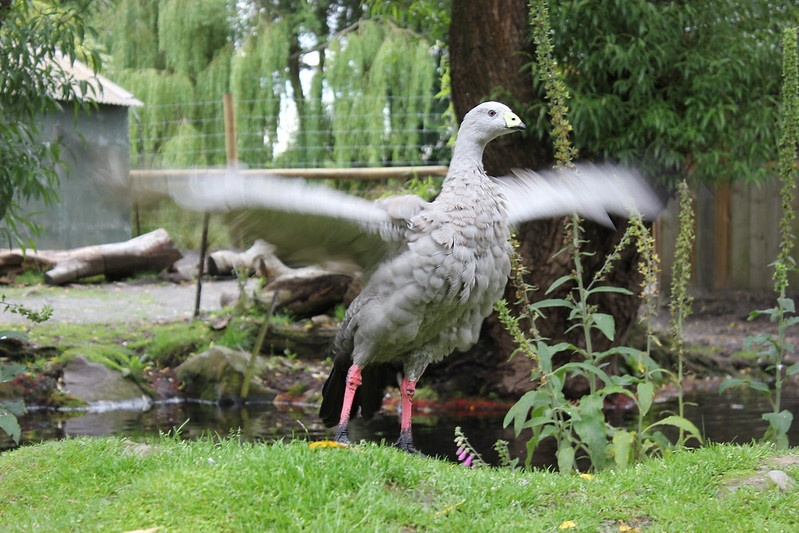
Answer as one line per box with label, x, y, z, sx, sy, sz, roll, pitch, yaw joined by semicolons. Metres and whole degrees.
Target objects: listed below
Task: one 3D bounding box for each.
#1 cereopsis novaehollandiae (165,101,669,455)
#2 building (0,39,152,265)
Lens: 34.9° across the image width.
cereopsis novaehollandiae;0.129;0.779;12.416;4.957;3.595;2.966;3;1;-36
building;-3.954;-1.332;14.814;1.951;3.014;1.796;13;11;42
